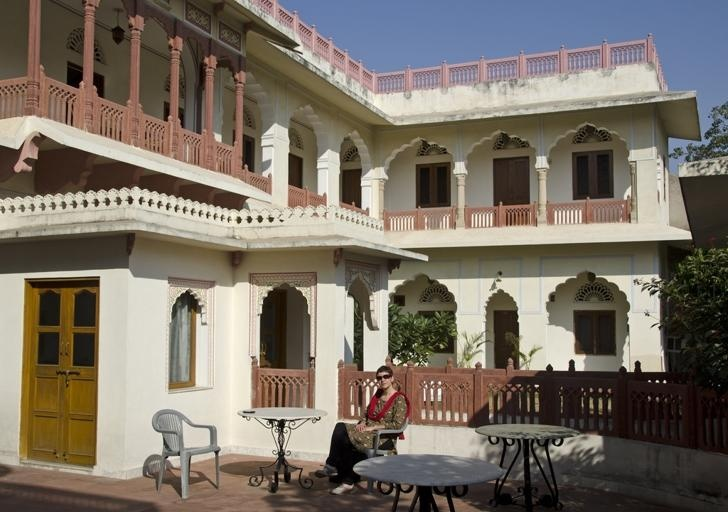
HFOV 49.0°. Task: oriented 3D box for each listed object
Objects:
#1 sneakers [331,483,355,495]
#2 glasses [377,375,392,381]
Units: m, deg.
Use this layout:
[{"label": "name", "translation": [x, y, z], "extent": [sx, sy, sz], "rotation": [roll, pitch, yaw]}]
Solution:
[{"label": "sneakers", "translation": [-0.307, 3.334, 11.537], "extent": [0.282, 0.136, 0.137], "rotation": [1, 1, -15]}, {"label": "glasses", "translation": [0.275, 1.730, 11.428], "extent": [0.208, 0.069, 0.156], "rotation": [-2, -12, 3]}]
